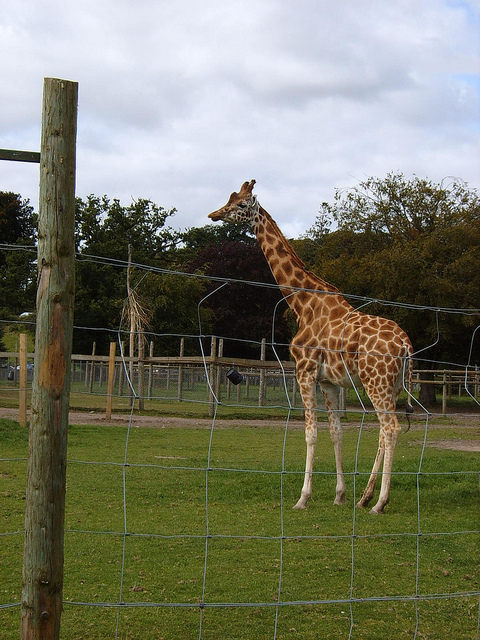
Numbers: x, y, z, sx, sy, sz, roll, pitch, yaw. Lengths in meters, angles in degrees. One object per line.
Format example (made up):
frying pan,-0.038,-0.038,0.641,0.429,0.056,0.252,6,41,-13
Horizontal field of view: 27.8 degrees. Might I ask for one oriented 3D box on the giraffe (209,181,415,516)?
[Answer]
giraffe,0.822,0.122,9.190,1.782,2.713,3.136,1,0,4
